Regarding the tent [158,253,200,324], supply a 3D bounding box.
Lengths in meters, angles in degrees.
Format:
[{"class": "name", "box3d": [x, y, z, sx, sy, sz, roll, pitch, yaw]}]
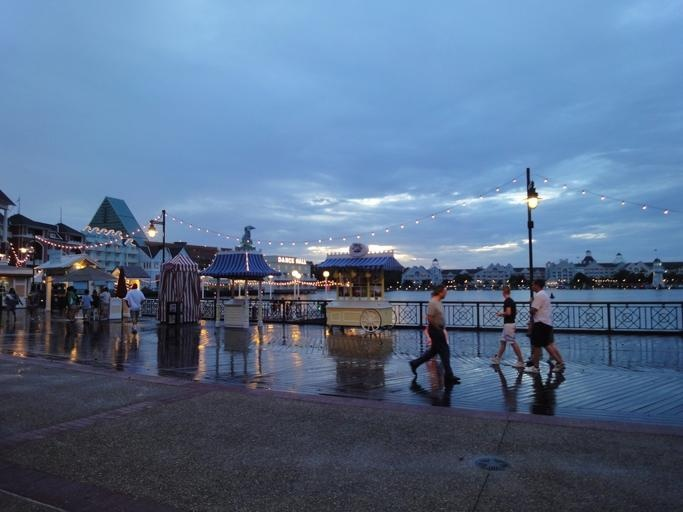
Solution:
[{"class": "tent", "box3d": [-6.945, 1.507, 26.038, 1.682, 2.759, 2.489, -1, 5, 5]}]
